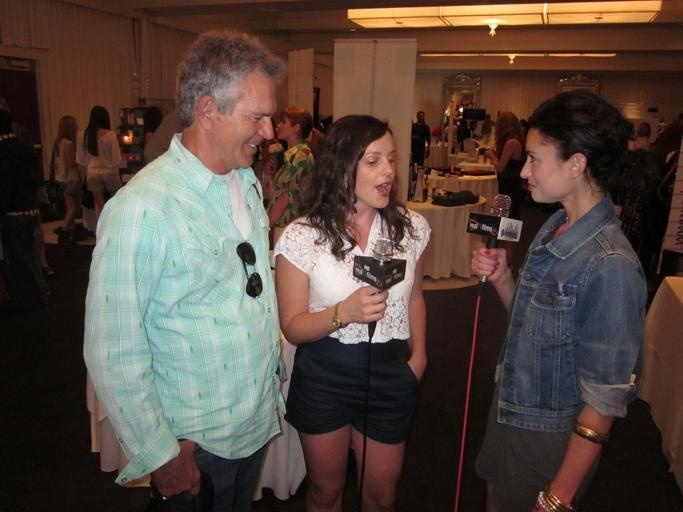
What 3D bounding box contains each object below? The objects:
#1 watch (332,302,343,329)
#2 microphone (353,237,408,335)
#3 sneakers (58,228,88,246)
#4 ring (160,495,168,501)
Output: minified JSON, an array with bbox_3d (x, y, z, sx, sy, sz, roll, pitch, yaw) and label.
[{"bbox_3d":[-0.015,0.253,2.137,0.028,0.080,0.078,0,29,11],"label":"watch"},{"bbox_3d":[0.146,0.017,2.035,0.161,0.207,0.196,-11,18,-43],"label":"microphone"},{"bbox_3d":[-3.770,-0.290,7.387,0.431,0.198,0.145,-6,40,-30],"label":"sneakers"},{"bbox_3d":[-0.662,0.909,1.942,0.015,0.024,0.023,23,-14,-6],"label":"ring"}]
